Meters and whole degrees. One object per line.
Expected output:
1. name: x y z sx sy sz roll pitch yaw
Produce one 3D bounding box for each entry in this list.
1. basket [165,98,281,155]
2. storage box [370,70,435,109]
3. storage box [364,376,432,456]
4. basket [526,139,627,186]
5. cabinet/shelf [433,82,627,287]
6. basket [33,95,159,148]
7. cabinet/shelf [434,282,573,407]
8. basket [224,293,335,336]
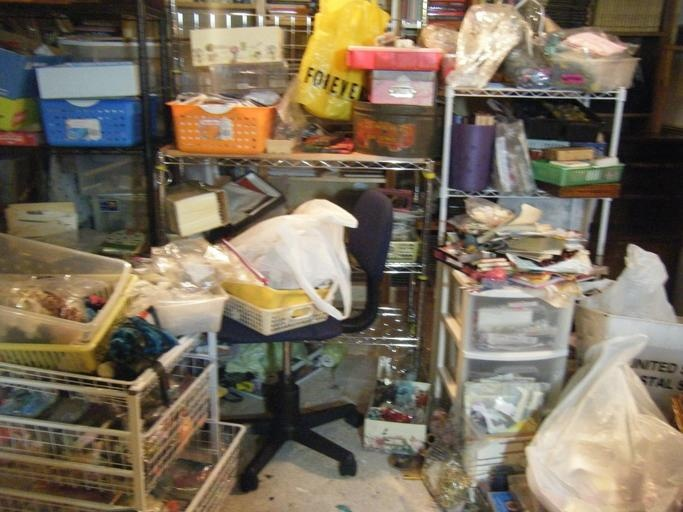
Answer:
1. basket: -0.510 -0.565 2.503 0.461 0.133 0.261 1 20 -3
2. storage box: 0.262 -0.731 2.482 0.309 0.092 0.187 3 22 4
3. storage box: 0.270 0.684 2.467 0.401 0.186 0.271 6 59 11
4. basket: 0.996 -0.363 2.444 0.368 0.116 0.208 5 19 15
5. cabinet/shelf: 0.864 -0.390 2.708 0.777 0.804 0.752 3 22 9
6. basket: -1.083 -0.587 2.539 0.454 0.122 0.230 -1 20 -5
7. cabinet/shelf: 0.657 0.320 2.317 0.544 0.514 0.409 2 22 7
8. basket: -0.249 0.224 2.207 0.272 0.057 0.276 -10 19 -41
